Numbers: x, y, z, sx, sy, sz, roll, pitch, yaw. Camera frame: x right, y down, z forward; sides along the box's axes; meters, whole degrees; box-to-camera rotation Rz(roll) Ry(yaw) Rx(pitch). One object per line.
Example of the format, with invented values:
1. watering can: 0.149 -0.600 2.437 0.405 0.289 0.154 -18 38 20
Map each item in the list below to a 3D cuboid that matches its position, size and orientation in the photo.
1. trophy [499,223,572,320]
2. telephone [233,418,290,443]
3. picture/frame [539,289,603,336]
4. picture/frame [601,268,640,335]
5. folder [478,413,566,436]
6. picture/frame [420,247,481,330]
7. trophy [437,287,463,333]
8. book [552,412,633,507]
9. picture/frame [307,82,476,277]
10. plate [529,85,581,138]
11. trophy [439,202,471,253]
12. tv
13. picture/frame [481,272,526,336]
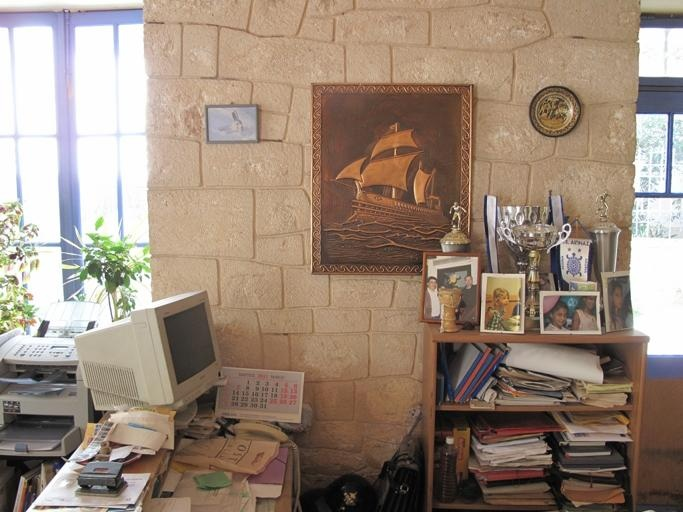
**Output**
1. trophy: 0.995 0.040 2.991 0.278 0.538 0.213 1 11 2
2. telephone: -0.417 0.886 2.990 0.189 0.047 0.134 4 -5 4
3. picture/frame: 1.102 0.278 2.820 0.258 0.157 0.009 1 -9 0
4. picture/frame: 1.343 0.220 2.840 0.174 0.285 0.077 3 13 14
5. folder: 0.875 0.825 2.883 0.359 0.080 0.265 0 5 -6
6. picture/frame: 0.555 0.171 2.941 0.498 0.502 0.039 1 -7 6
7. trophy: 0.542 0.261 2.902 0.107 0.210 0.147 1 5 9
8. book: 1.227 1.002 2.859 0.395 0.431 0.164 0 -2 3
9. picture/frame: 0.269 -0.412 3.137 0.841 1.001 0.056 0 5 4
10. plate: 1.131 -0.764 3.106 0.258 0.266 0.029 0 5 6
11. trophy: 0.595 -0.152 3.057 0.146 0.262 0.207 1 4 12
12. tv: -0.853 0.471 3.054 0.664 0.591 0.657 -1 6 12
13. picture/frame: 0.784 0.233 2.834 0.218 0.283 0.122 3 11 9
